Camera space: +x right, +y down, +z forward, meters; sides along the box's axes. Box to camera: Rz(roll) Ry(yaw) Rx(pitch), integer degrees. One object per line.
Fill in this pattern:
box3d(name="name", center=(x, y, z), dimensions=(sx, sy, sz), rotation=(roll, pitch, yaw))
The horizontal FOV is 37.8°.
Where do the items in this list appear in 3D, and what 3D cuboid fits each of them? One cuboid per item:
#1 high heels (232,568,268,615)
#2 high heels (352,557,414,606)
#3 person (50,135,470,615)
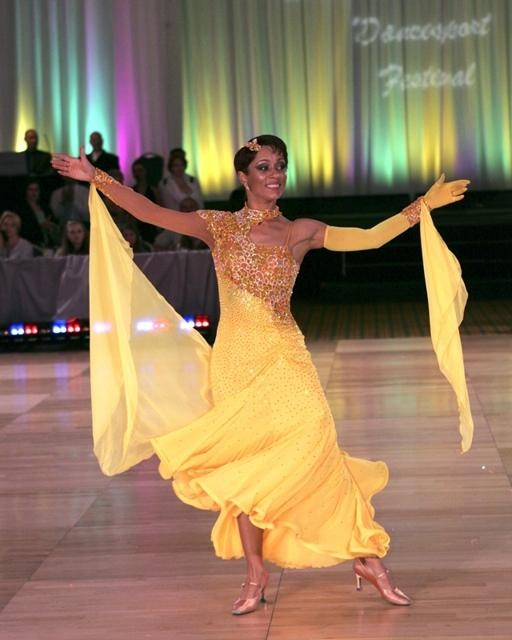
box3d(name="high heels", center=(-0.011, 0.751, 2.042), dimensions=(0.061, 0.059, 0.161), rotation=(-3, 1, 24))
box3d(name="high heels", center=(0.355, 0.726, 2.080), dimensions=(0.146, 0.134, 0.115), rotation=(-5, 6, -9))
box3d(name="person", center=(-0.009, 0.138, 2.202), dimensions=(1.270, 1.380, 0.614), rotation=(-3, 7, 12))
